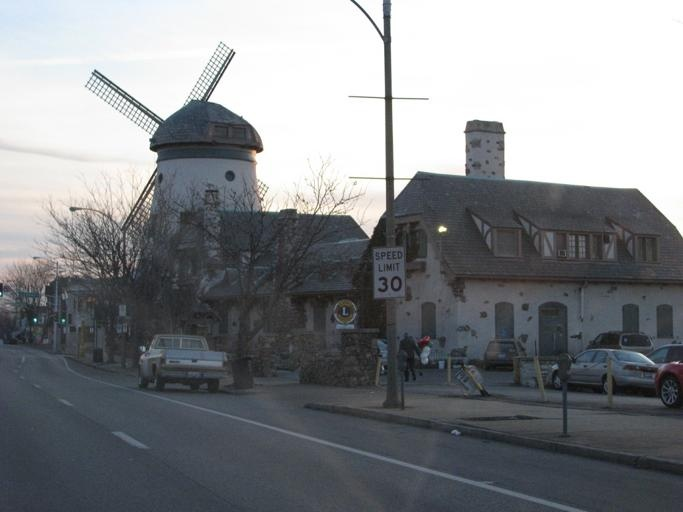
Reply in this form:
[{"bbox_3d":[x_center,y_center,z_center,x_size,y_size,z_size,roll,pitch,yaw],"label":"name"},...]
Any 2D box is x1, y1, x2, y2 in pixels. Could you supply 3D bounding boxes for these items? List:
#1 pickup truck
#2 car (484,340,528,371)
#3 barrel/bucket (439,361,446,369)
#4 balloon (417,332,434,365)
[{"bbox_3d":[-5.841,3.735,32.742,1.752,1.374,3.179,3,-3,-20],"label":"pickup truck"},{"bbox_3d":[7.973,4.884,45.931,1.182,1.051,2.189,-1,1,6],"label":"car"},{"bbox_3d":[5.137,5.579,47.576,0.287,0.483,0.308,0,-4,0],"label":"barrel/bucket"},{"bbox_3d":[4.226,4.832,47.333,0.389,1.413,0.903,9,-10,-37],"label":"balloon"}]
